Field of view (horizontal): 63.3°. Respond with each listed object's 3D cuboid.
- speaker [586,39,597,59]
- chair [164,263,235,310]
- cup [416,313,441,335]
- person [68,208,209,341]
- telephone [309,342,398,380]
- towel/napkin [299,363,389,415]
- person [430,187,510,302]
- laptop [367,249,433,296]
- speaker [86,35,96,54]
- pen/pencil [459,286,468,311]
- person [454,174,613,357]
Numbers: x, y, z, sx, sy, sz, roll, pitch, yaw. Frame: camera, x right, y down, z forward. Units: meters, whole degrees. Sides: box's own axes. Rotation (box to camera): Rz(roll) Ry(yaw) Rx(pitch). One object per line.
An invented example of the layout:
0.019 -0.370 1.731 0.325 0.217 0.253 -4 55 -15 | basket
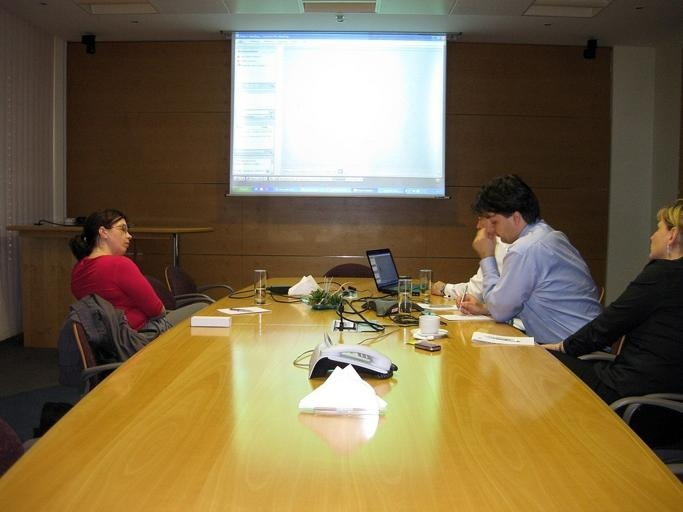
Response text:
2.609 -2.151 5.776 0.130 0.168 0.180 -1 8 11 | speaker
-1.235 0.238 4.807 0.301 0.425 0.352 -1 6 16 | chair
0.397 0.301 2.495 0.080 0.065 0.084 -1 6 0 | cup
-1.400 0.097 3.372 0.489 0.736 0.408 -6 7 18 | person
0.039 0.362 2.023 0.247 0.110 0.139 0 3 -3 | telephone
0.001 0.426 1.806 0.192 0.075 0.156 -1 9 5 | towel/napkin
0.875 0.051 3.651 0.323 0.732 0.332 -18 40 -34 | person
0.341 0.098 3.777 0.286 0.221 0.365 2 5 18 | laptop
-2.616 -2.212 5.778 0.100 0.193 0.108 2 11 3 | speaker
0.715 0.251 3.251 0.019 0.022 0.186 -1 27 19 | pen/pencil
1.023 0.056 3.198 0.718 1.047 0.630 -10 9 11 | person
